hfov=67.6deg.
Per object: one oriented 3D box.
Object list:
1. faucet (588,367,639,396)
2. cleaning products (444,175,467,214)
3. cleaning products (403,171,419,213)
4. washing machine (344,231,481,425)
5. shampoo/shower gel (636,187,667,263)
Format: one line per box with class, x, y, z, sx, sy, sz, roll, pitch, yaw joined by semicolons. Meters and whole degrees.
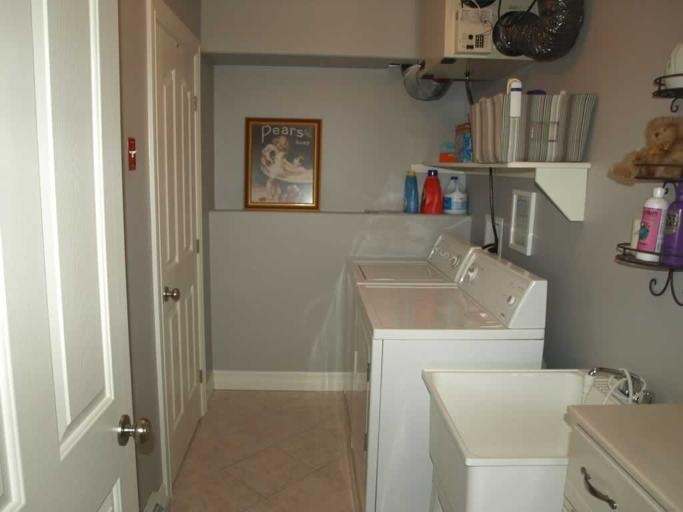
faucet;0.932;0.424;1.731;0.115;0.093;0.048;7;7;27
cleaning products;0.766;-0.398;3.439;0.144;0.260;0.147;0;0;25
cleaning products;0.470;-0.435;3.433;0.112;0.274;0.141;3;13;8
washing machine;0.339;0.245;2.380;0.628;0.980;0.661;1;9;-4
shampoo/shower gel;0.895;-0.089;1.501;0.044;0.227;0.074;3;10;-5
